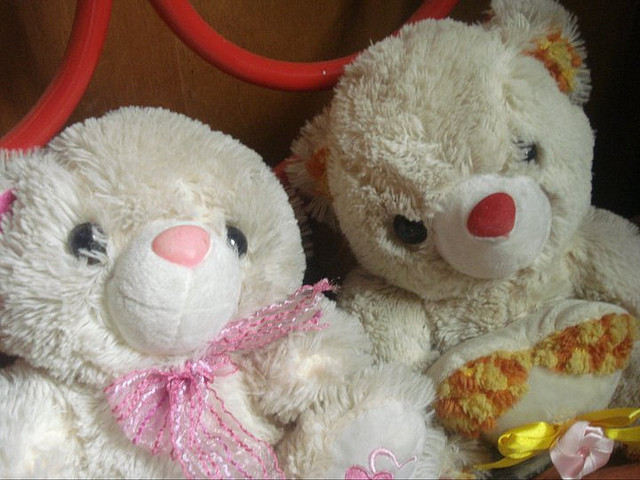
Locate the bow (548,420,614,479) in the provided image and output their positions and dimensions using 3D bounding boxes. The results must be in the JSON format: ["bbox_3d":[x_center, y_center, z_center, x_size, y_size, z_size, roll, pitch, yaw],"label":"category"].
[{"bbox_3d":[0.378,0.303,1.147,0.077,0.061,0.068,-25,65,-32],"label":"bow"}]

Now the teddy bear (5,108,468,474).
[{"bbox_3d":[-0.146,0.067,1.255,0.620,0.488,0.646,-10,98,-30],"label":"teddy bear"}]
